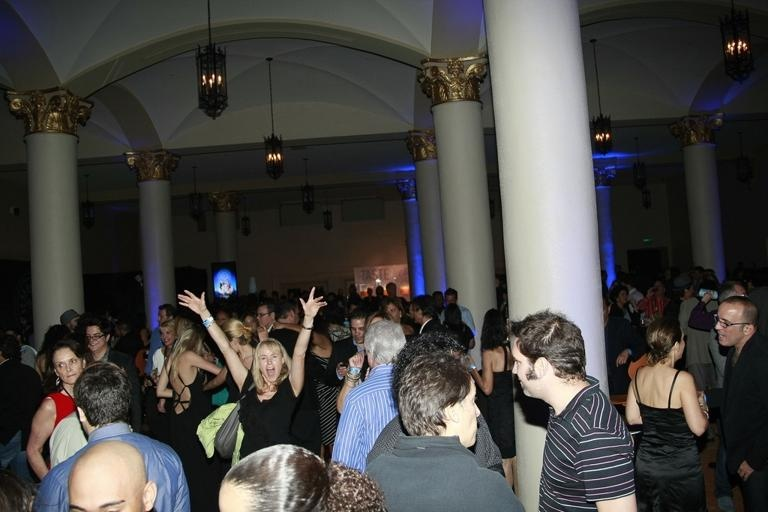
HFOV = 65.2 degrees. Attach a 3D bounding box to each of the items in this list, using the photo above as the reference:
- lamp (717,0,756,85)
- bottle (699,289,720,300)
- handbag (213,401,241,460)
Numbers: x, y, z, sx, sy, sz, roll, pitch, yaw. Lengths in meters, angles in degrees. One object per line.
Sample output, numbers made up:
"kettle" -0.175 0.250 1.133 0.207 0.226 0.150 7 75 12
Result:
"lamp" 5.302 -3.231 9.080 0.359 1.126 0.609 -5 -3 30
"bottle" 4.091 0.482 7.603 0.300 0.087 0.076 11 -12 32
"handbag" -1.399 1.577 5.373 0.149 0.421 0.233 12 -13 -25
